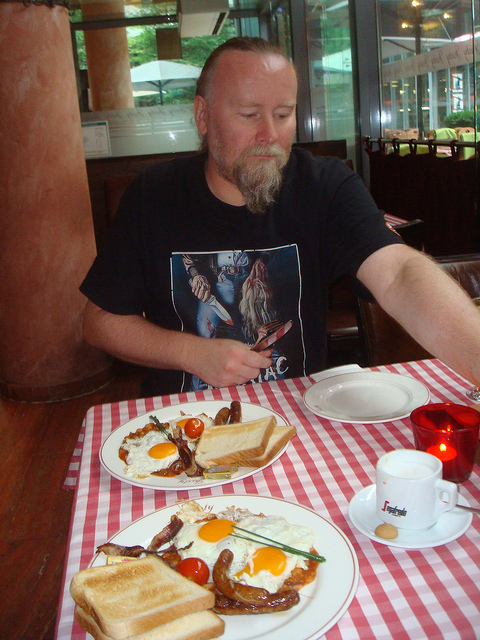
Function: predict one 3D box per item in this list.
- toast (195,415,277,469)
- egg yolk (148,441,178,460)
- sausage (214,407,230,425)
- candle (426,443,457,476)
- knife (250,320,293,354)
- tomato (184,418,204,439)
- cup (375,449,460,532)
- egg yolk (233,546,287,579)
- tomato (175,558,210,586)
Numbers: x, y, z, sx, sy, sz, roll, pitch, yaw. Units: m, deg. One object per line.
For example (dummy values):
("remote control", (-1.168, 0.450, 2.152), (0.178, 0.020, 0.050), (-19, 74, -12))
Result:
("toast", (-0.018, 0.185, 0.858), (0.138, 0.065, 0.124), (-4, 13, -16))
("egg yolk", (-0.130, 0.218, 0.828), (0.048, 0.013, 0.040), (-6, 10, -12))
("sausage", (-0.035, 0.180, 0.933), (0.017, 0.016, 0.051), (15, 17, 6))
("candle", (0.292, 0.192, 0.700), (0.045, 0.033, 0.045), (7, 24, 36))
("knife", (0.086, 0.048, 1.442), (0.146, 0.021, 0.022), (-33, 1, -13))
("tomato", (-0.082, 0.193, 0.882), (0.028, 0.018, 0.032), (3, 51, 6))
("cup", (0.218, 0.217, 0.625), (0.079, 0.085, 0.078), (-4, 10, 1))
("egg yolk", (0.030, 0.256, 0.525), (0.044, 0.010, 0.027), (-26, 37, -30))
("tomato", (-0.051, 0.269, 0.530), (0.024, 0.023, 0.023), (4, -20, 7))
